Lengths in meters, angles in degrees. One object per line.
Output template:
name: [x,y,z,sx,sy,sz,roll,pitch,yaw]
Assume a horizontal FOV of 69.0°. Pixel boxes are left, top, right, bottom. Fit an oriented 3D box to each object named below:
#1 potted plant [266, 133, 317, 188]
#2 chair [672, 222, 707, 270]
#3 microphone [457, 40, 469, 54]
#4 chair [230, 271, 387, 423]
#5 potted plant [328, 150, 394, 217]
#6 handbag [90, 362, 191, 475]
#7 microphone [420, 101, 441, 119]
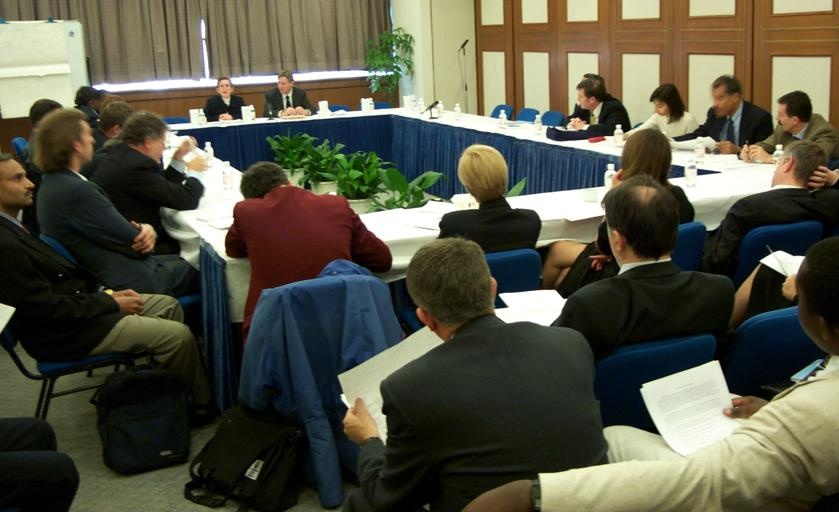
potted plant: [-1.387,-1.012,6.585,0.400,0.572,0.507,-7,1,41]
chair: [1.447,-0.053,3.271,0.158,0.225,0.185,-14,31,-7]
microphone: [0.729,-3.656,10.612,0.184,0.209,0.274,3,13,17]
chair: [-0.451,0.416,2.996,0.886,0.661,0.532,-9,11,-29]
potted plant: [-0.528,-0.684,5.588,0.648,0.645,0.617,-6,4,-35]
handbag: [-1.415,0.850,3.243,0.490,0.537,0.509,-5,-23,-20]
microphone: [0.150,-1.915,8.103,0.145,0.193,0.477,-4,4,-28]
